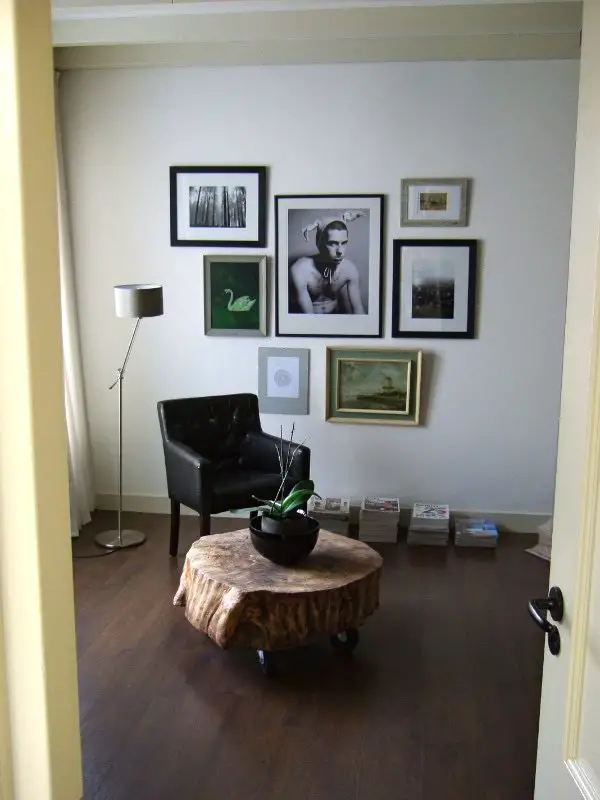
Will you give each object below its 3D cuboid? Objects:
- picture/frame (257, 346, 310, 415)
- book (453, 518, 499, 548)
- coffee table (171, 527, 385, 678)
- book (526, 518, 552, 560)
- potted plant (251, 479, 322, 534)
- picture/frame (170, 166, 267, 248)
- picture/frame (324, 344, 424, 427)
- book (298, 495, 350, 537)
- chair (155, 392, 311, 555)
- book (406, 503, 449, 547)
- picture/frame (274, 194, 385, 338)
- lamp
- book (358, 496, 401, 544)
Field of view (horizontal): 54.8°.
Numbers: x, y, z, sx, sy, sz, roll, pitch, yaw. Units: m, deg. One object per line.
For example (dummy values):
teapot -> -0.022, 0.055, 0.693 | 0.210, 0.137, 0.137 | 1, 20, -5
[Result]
picture/frame -> -0.131, -0.167, 4.608 | 0.400, 0.602, 0.022 | 2, -28, -5
book -> 1.340, 1.007, 4.396 | 0.303, 0.167, 0.274 | 3, 8, 16
coffee table -> -0.119, 1.070, 3.179 | 1.035, 0.489, 1.237 | 4, 0, 20
book -> 1.768, 1.018, 4.261 | 0.155, 0.183, 0.455 | 4, 9, 27
potted plant -> -0.040, 0.562, 2.931 | 0.380, 0.317, 0.358 | 8, -2, -7
picture/frame -> -0.595, -1.512, 4.438 | 0.467, 0.506, 0.044 | 2, 9, 7
picture/frame -> 0.607, -0.135, 4.491 | 0.491, 0.527, 0.038 | 2, 10, 11
book -> 0.173, 0.798, 3.938 | 0.329, 0.101, 0.382 | 2, 24, -7
chair -> -0.475, 0.601, 4.172 | 0.808, 1.333, 0.682 | -3, 3, -35
book -> 0.980, 0.953, 4.349 | 0.243, 0.200, 0.280 | 1, 11, 5
picture/frame -> 0.223, -1.054, 4.453 | 0.834, 1.372, 0.040 | 0, -24, 4
lamp -> -1.306, 0.099, 4.377 | 0.513, 1.902, 0.958 | -2, 8, -20
book -> 0.599, 0.929, 4.388 | 0.254, 0.211, 0.295 | -1, 7, 4
